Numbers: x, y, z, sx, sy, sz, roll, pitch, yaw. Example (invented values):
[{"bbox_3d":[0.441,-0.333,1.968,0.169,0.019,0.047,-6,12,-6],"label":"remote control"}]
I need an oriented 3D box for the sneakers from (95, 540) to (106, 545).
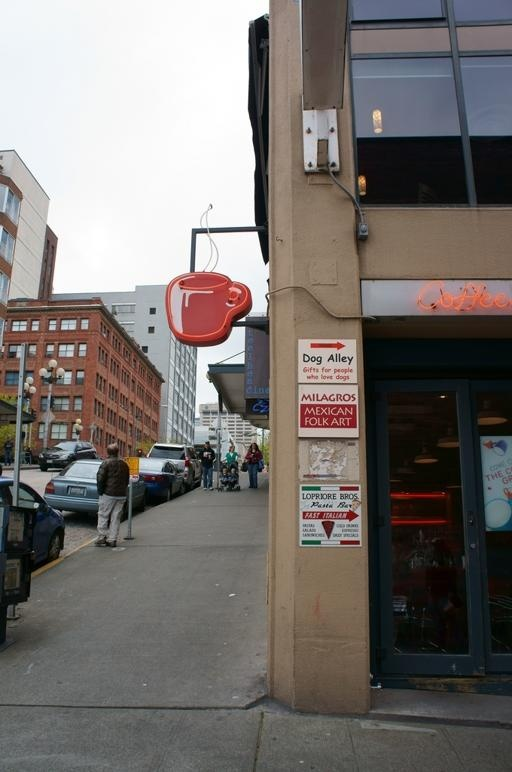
[{"bbox_3d":[-2.612,2.617,9.964,0.132,0.101,0.083,-11,-10,30],"label":"sneakers"}]

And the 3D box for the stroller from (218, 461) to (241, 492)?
[{"bbox_3d":[-0.951,3.307,21.600,0.804,1.053,0.957,1,-18,-3],"label":"stroller"}]

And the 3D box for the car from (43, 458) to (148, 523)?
[{"bbox_3d":[-3.623,2.239,13.470,1.118,0.903,2.570,2,-4,11],"label":"car"}]

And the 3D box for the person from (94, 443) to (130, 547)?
[{"bbox_3d":[-2.537,1.888,10.490,0.564,1.779,1.161,4,-11,-15],"label":"person"}]

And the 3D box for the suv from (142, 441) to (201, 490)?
[{"bbox_3d":[-3.009,2.900,22.443,1.197,1.255,2.987,0,-3,2],"label":"suv"}]

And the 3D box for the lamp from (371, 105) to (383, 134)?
[{"bbox_3d":[1.082,-2.356,5.302,0.097,0.269,0.027,5,-11,-19],"label":"lamp"}]
